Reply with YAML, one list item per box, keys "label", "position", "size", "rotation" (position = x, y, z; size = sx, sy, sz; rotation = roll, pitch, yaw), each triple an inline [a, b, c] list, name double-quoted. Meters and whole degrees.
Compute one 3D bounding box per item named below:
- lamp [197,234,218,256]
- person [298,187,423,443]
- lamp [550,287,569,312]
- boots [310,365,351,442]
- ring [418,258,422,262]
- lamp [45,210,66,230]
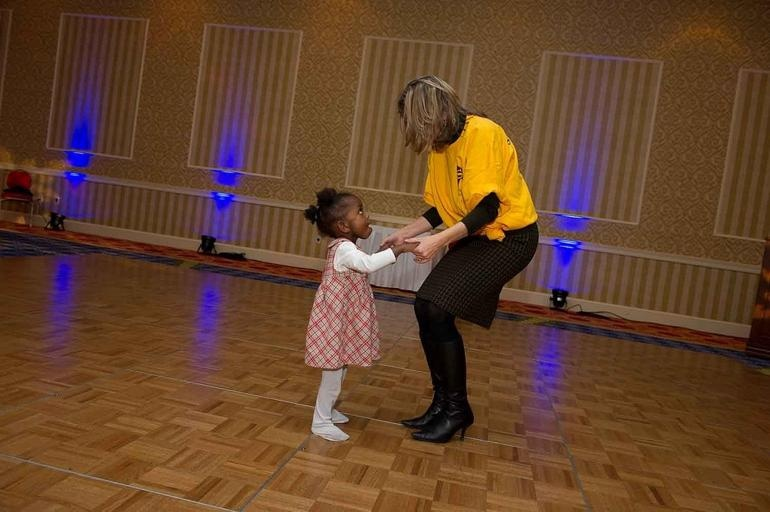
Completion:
- label: "lamp"
  position: [-2.761, -0.182, 8.474]
  size: [0.268, 0.248, 0.388]
  rotation: [5, 10, -18]
- label: "person"
  position: [-0.202, 0.281, 2.830]
  size: [0.505, 1.215, 0.514]
  rotation: [6, 11, -14]
- label: "lamp"
  position: [2.431, 0.586, 7.641]
  size: [0.286, 0.339, 0.270]
  rotation: [1, -6, 7]
- label: "boots"
  position: [-0.282, 0.781, 2.837]
  size: [0.205, 0.507, 0.255]
  rotation: [1, 18, -3]
- label: "ring"
  position: [0.173, 0.020, 2.677]
  size: [0.026, 0.013, 0.013]
  rotation: [4, -4, 8]
- label: "lamp"
  position: [-5.318, -0.564, 8.806]
  size: [0.330, 0.249, 0.290]
  rotation: [1, 0, -33]
